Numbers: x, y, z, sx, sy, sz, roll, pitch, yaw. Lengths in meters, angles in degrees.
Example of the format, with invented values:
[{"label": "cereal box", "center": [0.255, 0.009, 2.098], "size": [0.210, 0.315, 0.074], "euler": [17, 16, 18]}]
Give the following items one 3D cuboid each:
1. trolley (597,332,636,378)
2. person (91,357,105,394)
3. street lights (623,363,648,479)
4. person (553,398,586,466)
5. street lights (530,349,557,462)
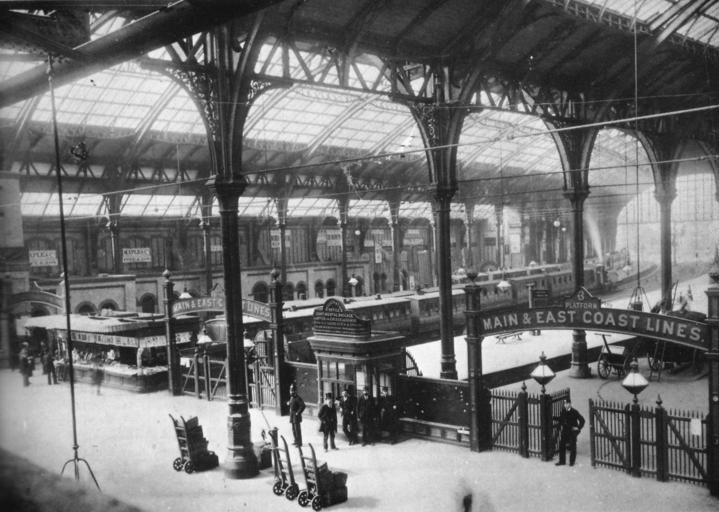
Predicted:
[{"label": "trolley", "center": [10.209, 4.065, 51.323], "size": [1.919, 1.608, 1.553], "euler": [0, -2, -42]}, {"label": "person", "center": [-11.015, 4.983, 52.217], "size": [0.525, 1.509, 2.382], "euler": [0, -6, -12]}, {"label": "street lights", "center": [9.289, 5.464, 41.927], "size": [0.889, 3.711, 0.969], "euler": [-1, 0, 28]}, {"label": "person", "center": [7.051, 6.003, 42.491], "size": [1.105, 2.204, 0.658], "euler": [-2, -8, 19]}, {"label": "street lights", "center": [6.374, 5.321, 43.156], "size": [0.860, 3.786, 0.707], "euler": [-1, 2, 36]}]
